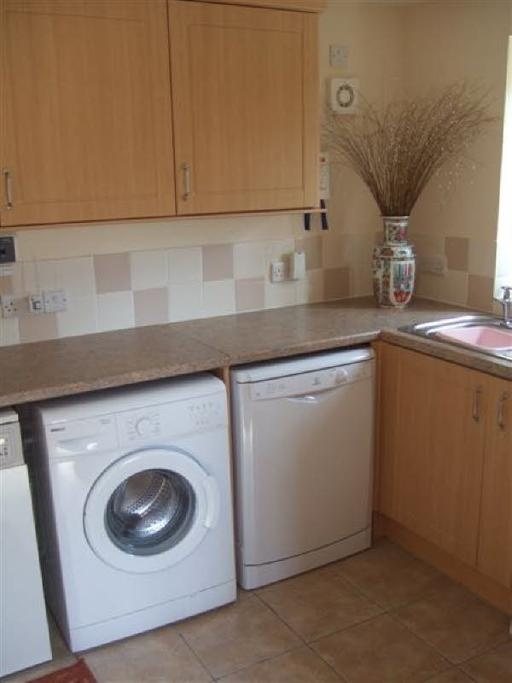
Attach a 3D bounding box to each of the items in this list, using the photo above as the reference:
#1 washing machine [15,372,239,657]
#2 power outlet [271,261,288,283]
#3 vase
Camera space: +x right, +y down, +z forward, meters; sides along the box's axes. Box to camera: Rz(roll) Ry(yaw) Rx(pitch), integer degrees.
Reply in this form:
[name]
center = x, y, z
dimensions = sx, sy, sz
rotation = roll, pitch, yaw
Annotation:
[washing machine]
center = -0.431, 0.414, 1.693
dimensions = 0.491, 0.889, 0.585
rotation = -8, 16, -27
[power outlet]
center = 0.104, -0.332, 2.391
dimensions = 0.094, 0.095, 0.027
rotation = -6, 7, -44
[vase]
center = 0.621, -0.356, 2.306
dimensions = 0.179, 0.406, 0.171
rotation = -1, 5, 6
